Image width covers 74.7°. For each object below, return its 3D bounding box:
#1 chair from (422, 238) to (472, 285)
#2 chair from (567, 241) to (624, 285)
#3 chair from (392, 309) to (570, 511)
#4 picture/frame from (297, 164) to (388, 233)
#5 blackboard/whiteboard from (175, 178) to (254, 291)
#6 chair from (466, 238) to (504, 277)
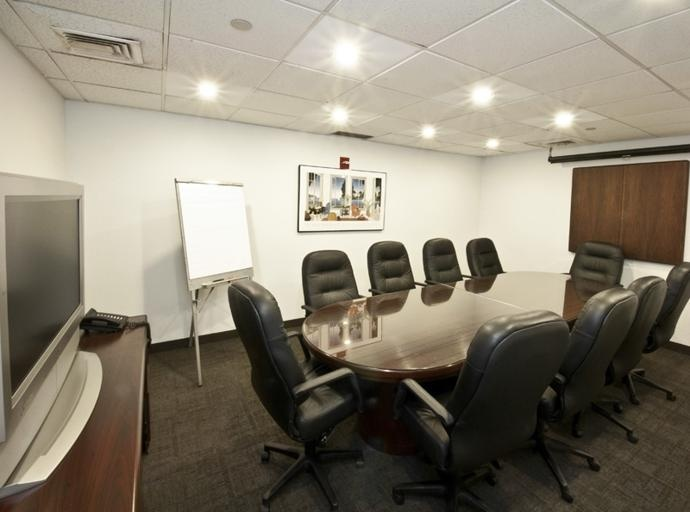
[{"bbox_3d":[1.069,0.038,5.033,0.435,0.711,0.483,-4,3,-28],"label":"chair"},{"bbox_3d":[2.947,0.062,5.431,0.603,0.763,0.493,-8,12,-43],"label":"chair"},{"bbox_3d":[0.769,0.748,2.573,0.886,0.944,0.438,0,10,2],"label":"chair"},{"bbox_3d":[-0.016,-0.709,5.657,1.171,0.780,0.027,-1,9,-24],"label":"picture/frame"},{"bbox_3d":[-1.269,-0.197,4.277,0.205,1.332,0.960,0,6,41],"label":"blackboard/whiteboard"},{"bbox_3d":[1.629,0.006,5.327,0.365,0.594,0.471,-4,2,-26],"label":"chair"}]
